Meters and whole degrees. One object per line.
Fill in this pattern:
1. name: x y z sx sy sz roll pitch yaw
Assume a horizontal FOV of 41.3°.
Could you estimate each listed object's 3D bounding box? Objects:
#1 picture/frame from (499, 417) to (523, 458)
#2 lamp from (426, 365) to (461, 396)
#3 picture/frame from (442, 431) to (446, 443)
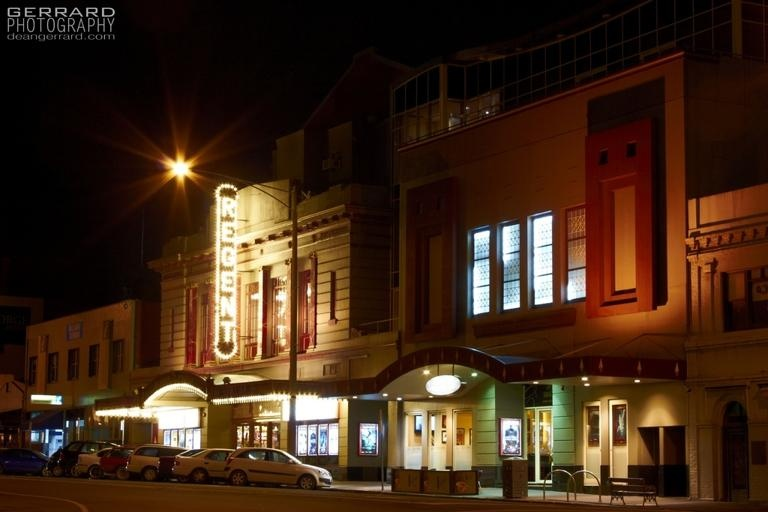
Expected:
1. picture/frame: 5.734 8.243 46.032 1.572 2.327 0.188 4 -9 -26
2. lamp: 2.787 5.941 47.033 1.699 0.605 1.578 -3 -21 9
3. picture/frame: 2.972 8.762 49.249 0.314 0.470 0.117 -2 -4 33
